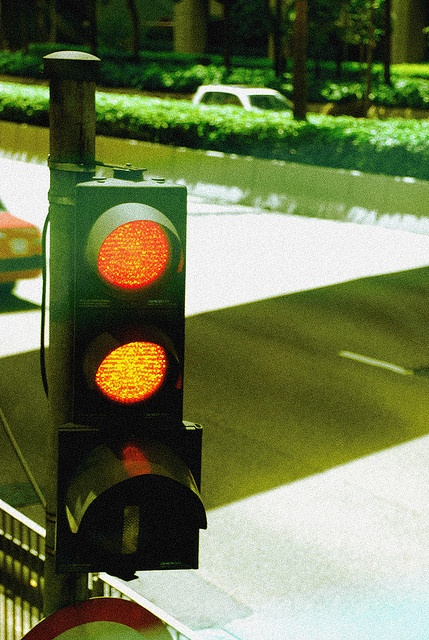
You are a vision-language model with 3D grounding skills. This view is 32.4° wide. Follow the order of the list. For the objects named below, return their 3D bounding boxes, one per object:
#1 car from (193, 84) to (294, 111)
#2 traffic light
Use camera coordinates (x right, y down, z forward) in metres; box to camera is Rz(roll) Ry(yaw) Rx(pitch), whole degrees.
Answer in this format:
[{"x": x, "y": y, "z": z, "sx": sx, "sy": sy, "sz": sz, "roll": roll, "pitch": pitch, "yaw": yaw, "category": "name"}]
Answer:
[{"x": 1.001, "y": -7.371, "z": 24.652, "sx": 1.888, "sy": 0.890, "sz": 3.727, "roll": -9, "pitch": 16, "yaw": -35, "category": "car"}, {"x": -0.169, "y": 0.137, "z": 1.457, "sx": 0.295, "sy": 0.777, "sz": 0.326, "roll": 0, "pitch": 14, "yaw": -5, "category": "traffic light"}]
